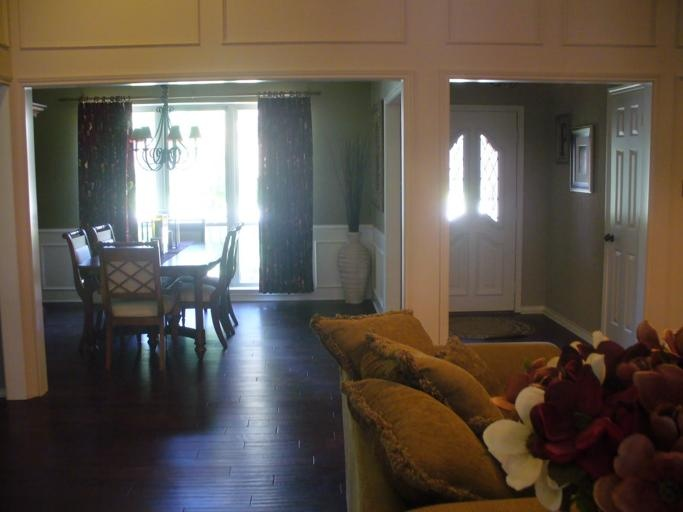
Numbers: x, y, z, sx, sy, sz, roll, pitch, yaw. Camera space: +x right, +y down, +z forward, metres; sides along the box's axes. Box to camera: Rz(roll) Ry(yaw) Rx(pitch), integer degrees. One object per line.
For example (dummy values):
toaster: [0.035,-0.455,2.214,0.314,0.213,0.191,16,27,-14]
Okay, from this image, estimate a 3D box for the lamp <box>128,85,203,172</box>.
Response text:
lamp: [-2.065,-1.561,6.519,0.571,1.075,0.719,-1,3,-11]

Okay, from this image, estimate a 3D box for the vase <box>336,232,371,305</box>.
vase: [0.164,0.168,7.254,0.413,0.946,0.197,-1,8,-1]

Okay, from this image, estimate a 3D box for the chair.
chair: [-1.769,0.371,5.381,1.535,1.196,1.223,-6,11,-30]
